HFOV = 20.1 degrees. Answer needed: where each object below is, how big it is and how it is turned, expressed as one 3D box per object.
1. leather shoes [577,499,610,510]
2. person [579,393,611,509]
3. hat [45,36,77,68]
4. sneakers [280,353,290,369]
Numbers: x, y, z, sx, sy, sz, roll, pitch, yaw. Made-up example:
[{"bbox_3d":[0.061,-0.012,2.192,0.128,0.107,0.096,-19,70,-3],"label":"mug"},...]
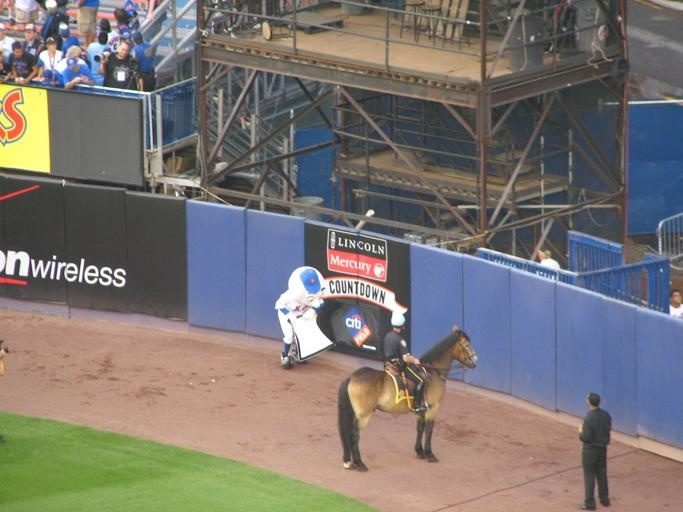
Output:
[{"bbox_3d":[4.884,4.794,37.383,0.653,0.286,0.218,0,11,-14],"label":"leather shoes"},{"bbox_3d":[4.917,3.784,37.323,0.673,2.233,0.359,-1,6,-23],"label":"person"},{"bbox_3d":[-7.002,-4.881,46.747,0.578,0.768,0.959,0,6,-9],"label":"hat"},{"bbox_3d":[-1.223,2.316,42.204,0.216,0.302,0.144,2,6,7],"label":"sneakers"}]
